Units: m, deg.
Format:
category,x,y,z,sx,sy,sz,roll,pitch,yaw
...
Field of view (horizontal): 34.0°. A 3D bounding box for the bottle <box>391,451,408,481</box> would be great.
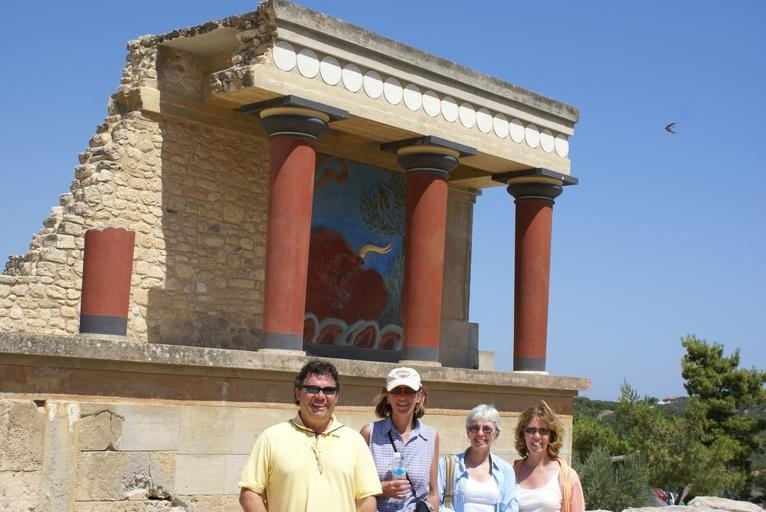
category,x,y,z,sx,sy,sz,roll,pitch,yaw
bottle,0.187,2.472,14.759,0.174,0.332,0.179,2,-12,0
